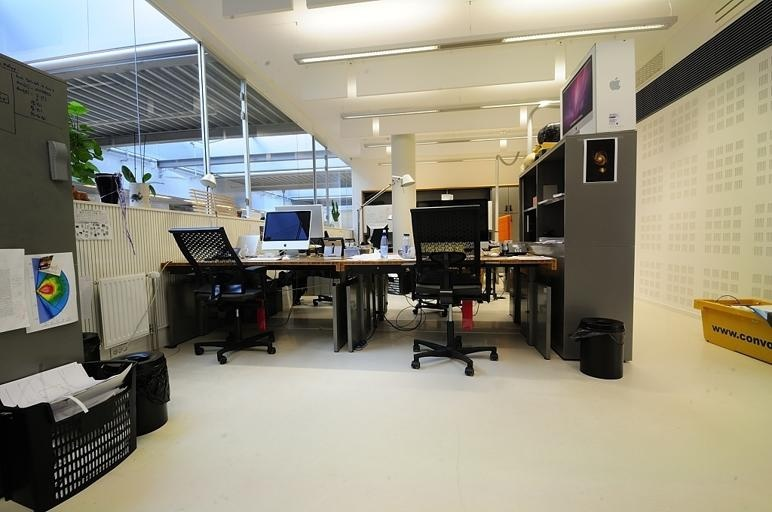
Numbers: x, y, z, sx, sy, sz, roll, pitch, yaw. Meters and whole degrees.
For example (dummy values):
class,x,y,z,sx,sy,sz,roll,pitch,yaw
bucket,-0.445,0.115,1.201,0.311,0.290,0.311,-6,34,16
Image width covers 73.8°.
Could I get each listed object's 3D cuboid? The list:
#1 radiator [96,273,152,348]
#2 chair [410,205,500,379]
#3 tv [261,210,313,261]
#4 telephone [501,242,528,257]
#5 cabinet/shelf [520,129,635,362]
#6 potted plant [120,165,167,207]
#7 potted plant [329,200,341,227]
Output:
class,x,y,z,sx,sy,sz,roll,pitch,yaw
radiator,-2.706,0.549,5.321,0.115,0.722,0.568,5,14,29
chair,0.673,0.297,5.217,0.802,1.608,0.558,0,12,6
tv,-1.195,-0.260,6.324,0.622,0.549,0.222,0,-3,4
telephone,1.456,-0.103,5.835,0.195,0.120,0.275,0,2,2
cabinet/shelf,2.033,-0.066,5.324,0.700,2.331,2.495,0,-2,9
potted plant,-2.742,-0.749,5.727,0.277,0.467,0.469,-2,-1,-39
potted plant,-1.103,-0.915,11.148,0.177,0.476,0.777,-3,12,-8
